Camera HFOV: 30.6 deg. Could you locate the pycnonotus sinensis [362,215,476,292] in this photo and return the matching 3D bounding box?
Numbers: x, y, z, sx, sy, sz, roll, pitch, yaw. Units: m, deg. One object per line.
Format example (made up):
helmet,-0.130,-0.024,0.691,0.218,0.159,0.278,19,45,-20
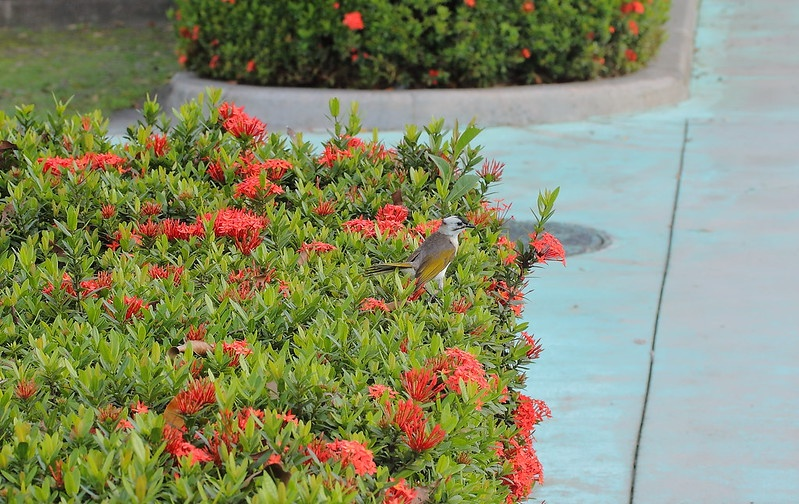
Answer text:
pycnonotus sinensis,0.159,0.066,12.753,1.101,0.624,0.304,-8,15,-29
